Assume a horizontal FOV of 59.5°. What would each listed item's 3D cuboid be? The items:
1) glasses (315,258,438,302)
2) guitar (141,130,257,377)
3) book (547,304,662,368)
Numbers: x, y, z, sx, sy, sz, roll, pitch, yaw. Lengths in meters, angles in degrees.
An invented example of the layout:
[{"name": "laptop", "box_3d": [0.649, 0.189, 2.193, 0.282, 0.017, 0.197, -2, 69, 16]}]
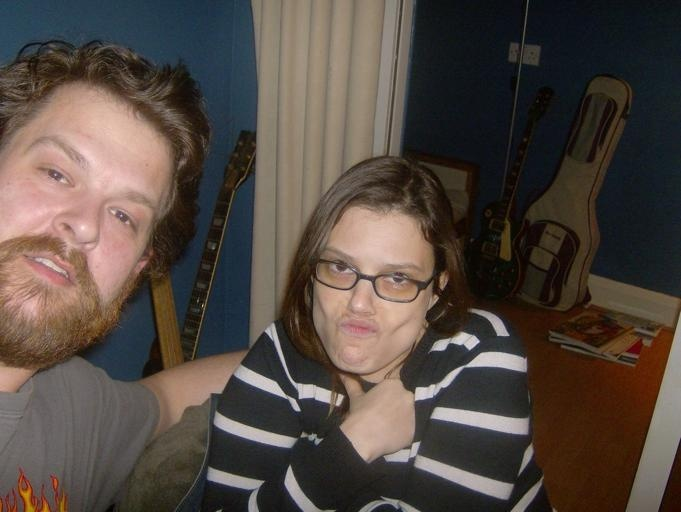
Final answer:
[{"name": "glasses", "box_3d": [0.106, 0.081, 1.961, 0.390, 0.106, 0.078, 8, 15, 1]}, {"name": "guitar", "box_3d": [-0.680, 0.104, 2.859, 0.374, 1.419, 0.166, 13, -4, -29]}, {"name": "book", "box_3d": [1.746, 0.523, 3.975, 0.409, 0.107, 0.431, 9, 29, 37]}]
